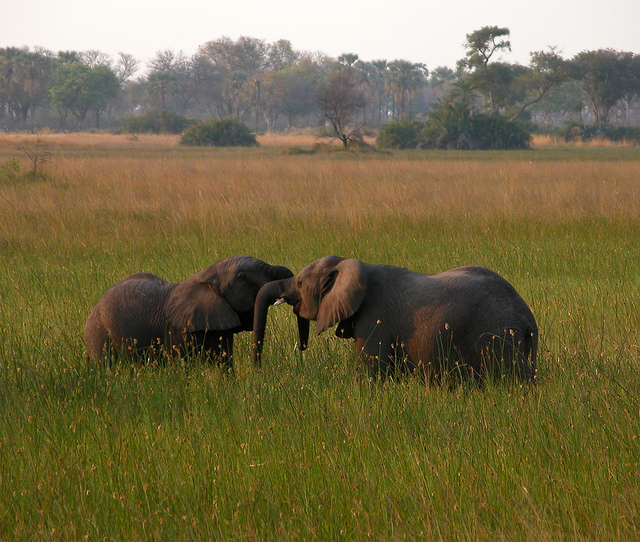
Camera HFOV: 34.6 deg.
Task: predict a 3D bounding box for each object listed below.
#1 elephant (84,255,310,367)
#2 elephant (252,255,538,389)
[{"bbox_3d":[-1.125,0.525,9.654,1.956,1.437,0.953,-8,4,-1],"label":"elephant"},{"bbox_3d":[0.793,0.359,9.404,2.308,1.580,1.170,5,-19,14],"label":"elephant"}]
